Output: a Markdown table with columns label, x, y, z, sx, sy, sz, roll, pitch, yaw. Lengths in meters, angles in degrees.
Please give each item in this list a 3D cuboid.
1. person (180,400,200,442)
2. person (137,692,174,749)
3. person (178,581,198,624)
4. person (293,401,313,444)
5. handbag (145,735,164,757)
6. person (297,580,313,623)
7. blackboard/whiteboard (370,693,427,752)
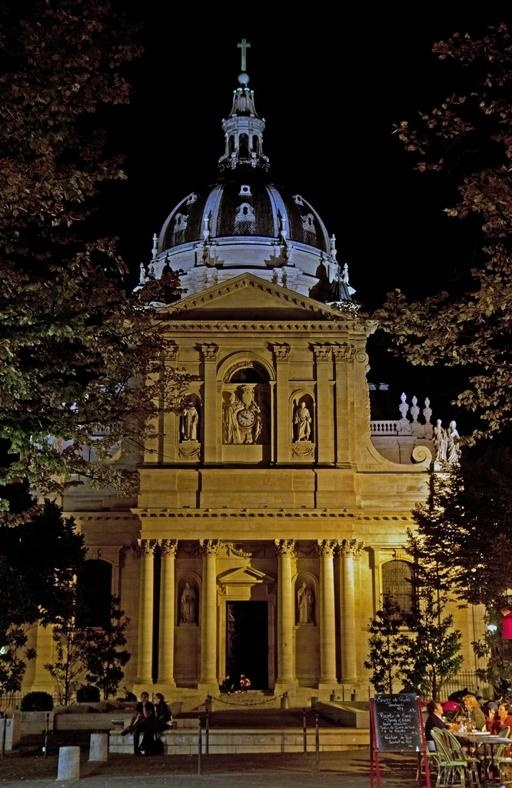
| label | x | y | z | sx | sy | sz | roll | pitch | yaw |
| --- | --- | --- | --- | --- | --- | --- | --- | --- | --- |
| person | -2.974 | 1.041 | 46.598 | 0.907 | 2.033 | 1.309 | 2 | -13 | -4 |
| person | -2.435 | 7.733 | 24.575 | 0.633 | 1.220 | 1.059 | -1 | -13 | 10 |
| person | -3.031 | 9.176 | 46.561 | 0.862 | 1.875 | 0.368 | 2 | -13 | -6 |
| person | 2.074 | 1.152 | 47.146 | 0.689 | 2.078 | 0.585 | 10 | -16 | -35 |
| handbag | -2.368 | 8.159 | 24.564 | 0.480 | 0.445 | 0.464 | 2 | -1 | -1 |
| person | 2.135 | 9.146 | 46.240 | 0.760 | 1.731 | 0.399 | 4 | -13 | -16 |
| blackboard/whiteboard | 2.099 | 4.864 | 15.666 | 0.751 | 0.828 | 0.437 | -1 | -13 | 7 |
